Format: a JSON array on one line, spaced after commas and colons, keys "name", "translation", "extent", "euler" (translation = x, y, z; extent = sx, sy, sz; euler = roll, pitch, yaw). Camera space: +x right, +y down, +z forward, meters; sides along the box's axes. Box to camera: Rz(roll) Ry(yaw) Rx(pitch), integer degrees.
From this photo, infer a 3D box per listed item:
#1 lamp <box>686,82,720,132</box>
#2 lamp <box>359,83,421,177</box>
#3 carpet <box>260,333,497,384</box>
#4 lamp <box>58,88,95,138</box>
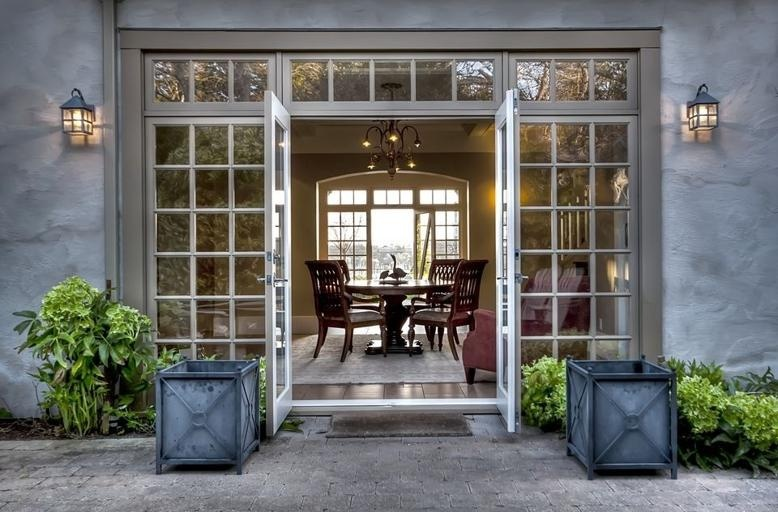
[{"name": "lamp", "translation": [2.863, -1.346, 5.694], "extent": [0.297, 0.427, 0.155], "euler": [-3, 5, -20]}, {"name": "lamp", "translation": [0.049, -1.841, 9.224], "extent": [1.008, 1.258, 0.957], "euler": [-8, 14, -34]}, {"name": "carpet", "translation": [-0.116, 1.222, 7.767], "extent": [2.146, 0.113, 2.855], "euler": [-2, 4, -9]}, {"name": "lamp", "translation": [-2.887, -1.314, 5.624], "extent": [0.325, 0.383, 0.302], "euler": [6, 18, -13]}]
